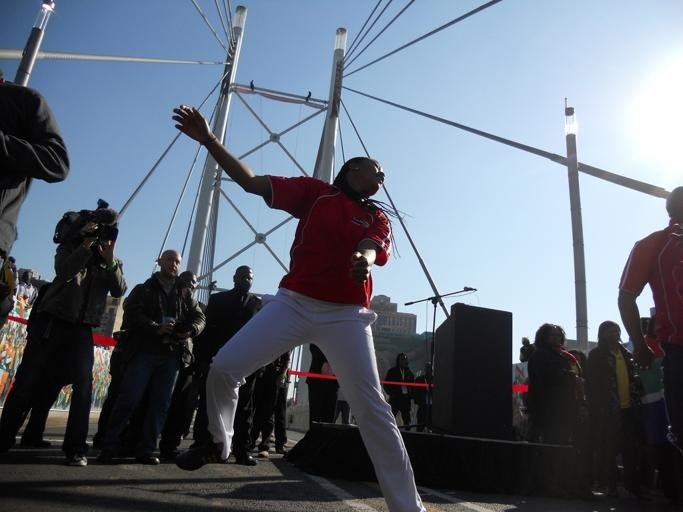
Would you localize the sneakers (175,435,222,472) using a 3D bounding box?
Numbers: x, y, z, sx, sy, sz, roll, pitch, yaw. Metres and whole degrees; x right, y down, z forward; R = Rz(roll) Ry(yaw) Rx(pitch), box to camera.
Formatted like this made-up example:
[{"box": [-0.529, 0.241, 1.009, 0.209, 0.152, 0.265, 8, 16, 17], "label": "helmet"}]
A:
[{"box": [-0.772, 1.111, 2.423, 0.348, 0.166, 0.125, -7, -33, -6], "label": "sneakers"}]

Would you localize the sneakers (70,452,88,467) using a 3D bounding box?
[{"box": [-2.156, 1.684, 3.505, 0.158, 0.080, 0.211, 18, -25, -30], "label": "sneakers"}]

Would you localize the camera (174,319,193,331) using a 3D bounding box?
[{"box": [-1.602, 0.716, 4.319, 0.110, 0.085, 0.129, -3, 3, -23], "label": "camera"}]

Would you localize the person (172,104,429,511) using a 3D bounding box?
[{"box": [-0.134, 0.312, 2.468, 1.176, 2.004, 0.601, -2, -21, 15], "label": "person"}]
